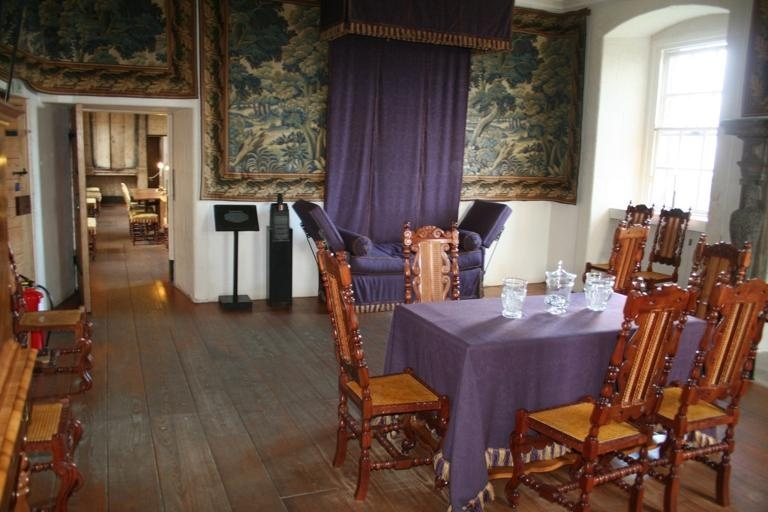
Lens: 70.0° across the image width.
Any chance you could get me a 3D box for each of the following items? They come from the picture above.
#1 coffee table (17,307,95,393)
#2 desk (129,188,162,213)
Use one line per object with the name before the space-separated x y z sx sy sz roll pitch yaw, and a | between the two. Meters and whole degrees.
coffee table | -2.654 0.780 4.441 0.536 0.483 0.678 3 16 -27
desk | -5.353 -1.250 12.330 0.547 0.262 1.159 -2 11 -25
